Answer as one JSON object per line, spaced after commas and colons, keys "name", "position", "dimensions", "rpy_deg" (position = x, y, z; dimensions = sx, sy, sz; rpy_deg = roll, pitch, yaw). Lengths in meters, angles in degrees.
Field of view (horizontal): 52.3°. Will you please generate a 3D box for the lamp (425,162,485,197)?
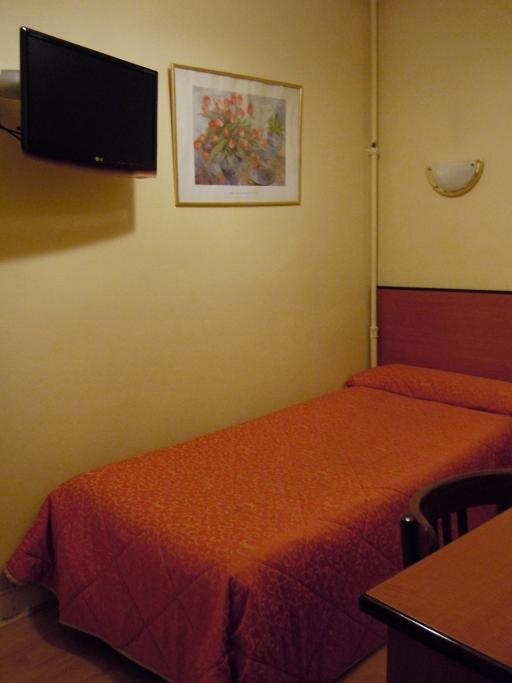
{"name": "lamp", "position": [1.115, -0.919, 2.974], "dimensions": [0.072, 0.191, 0.343], "rpy_deg": [-6, 11, -32]}
